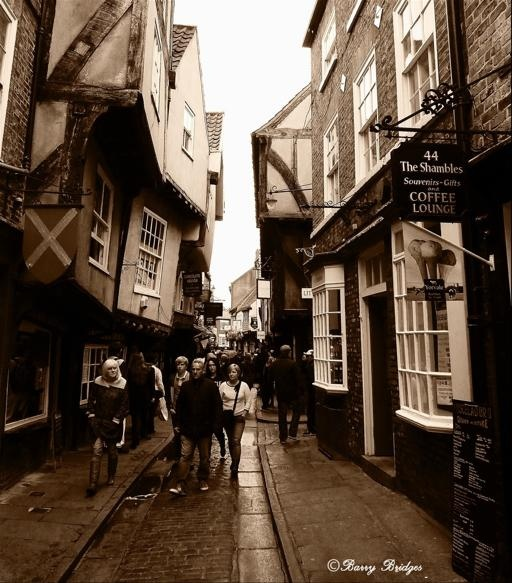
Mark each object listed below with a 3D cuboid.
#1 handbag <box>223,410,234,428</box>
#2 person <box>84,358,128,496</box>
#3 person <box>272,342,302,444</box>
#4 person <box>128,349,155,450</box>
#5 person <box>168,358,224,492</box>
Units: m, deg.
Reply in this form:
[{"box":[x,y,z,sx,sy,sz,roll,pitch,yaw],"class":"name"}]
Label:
[{"box":[-0.421,1.942,7.775,0.132,0.310,0.309,1,-5,-21],"class":"handbag"},{"box":[-1.946,1.687,6.599,0.317,1.658,0.673,4,-1,9],"class":"person"},{"box":[0.594,1.979,10.015,0.567,1.847,0.768,0,-4,3],"class":"person"},{"box":[-2.159,2.011,9.665,0.513,1.686,0.735,2,-5,-25],"class":"person"},{"box":[-0.752,1.728,6.632,0.630,1.680,0.531,0,-4,-8],"class":"person"}]
